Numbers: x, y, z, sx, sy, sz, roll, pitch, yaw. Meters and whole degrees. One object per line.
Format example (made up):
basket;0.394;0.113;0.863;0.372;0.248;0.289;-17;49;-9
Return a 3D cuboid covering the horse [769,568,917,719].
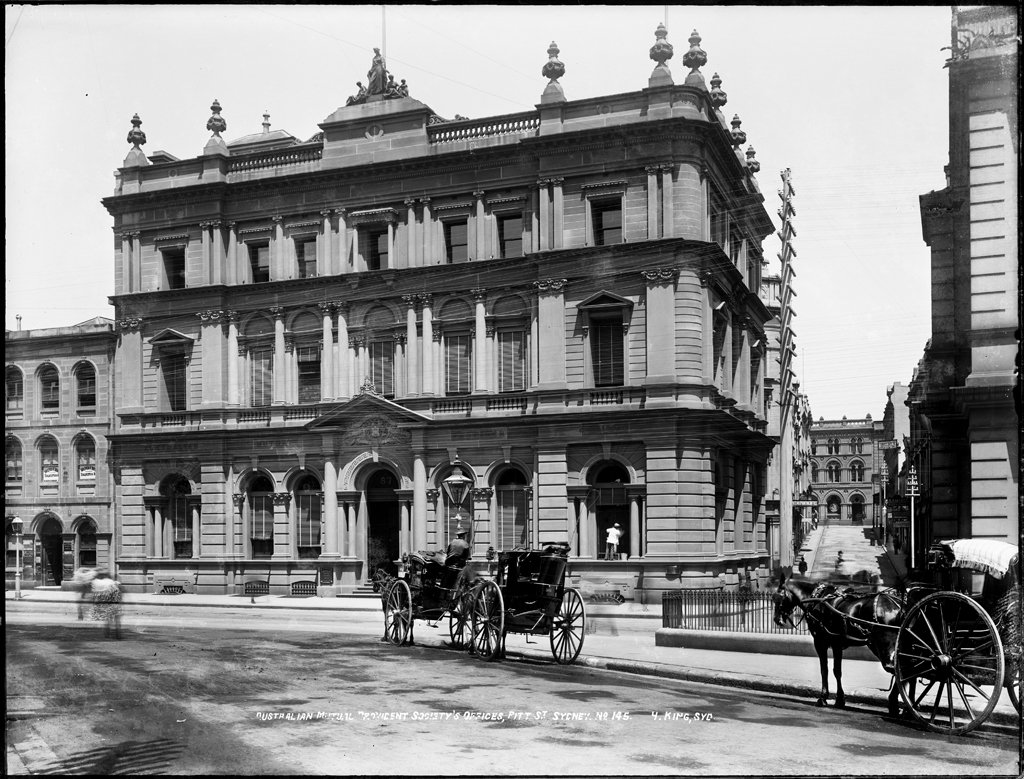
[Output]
horse;4.456;3.405;27.012;0.580;1.760;2.402;-1;0;-44

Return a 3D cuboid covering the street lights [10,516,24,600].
street lights;-7.148;2.389;29.502;0.170;1.066;0.649;-5;11;-14

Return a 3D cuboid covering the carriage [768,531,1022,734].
carriage;5.198;3.336;26.396;1.472;1.874;3.585;-9;12;-36

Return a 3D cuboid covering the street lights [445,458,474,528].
street lights;-0.766;1.566;29.809;0.372;1.127;0.544;-9;12;-34

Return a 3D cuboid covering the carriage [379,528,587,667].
carriage;-0.461;3.016;30.022;3.104;1.468;1.539;-10;-13;40
